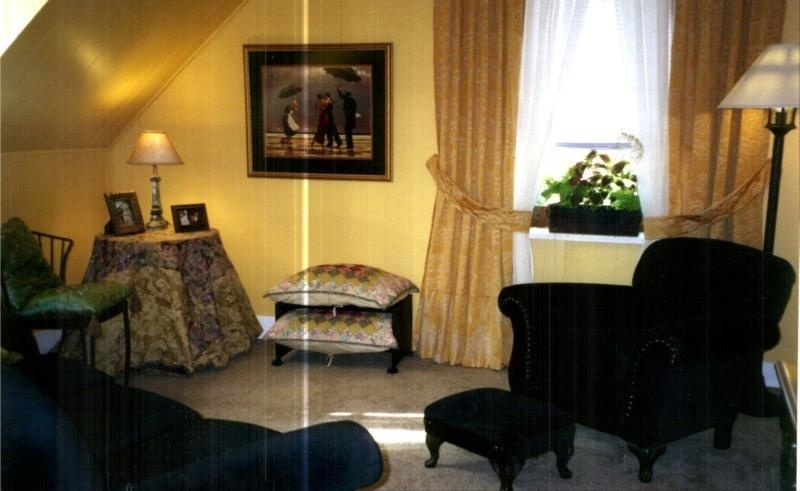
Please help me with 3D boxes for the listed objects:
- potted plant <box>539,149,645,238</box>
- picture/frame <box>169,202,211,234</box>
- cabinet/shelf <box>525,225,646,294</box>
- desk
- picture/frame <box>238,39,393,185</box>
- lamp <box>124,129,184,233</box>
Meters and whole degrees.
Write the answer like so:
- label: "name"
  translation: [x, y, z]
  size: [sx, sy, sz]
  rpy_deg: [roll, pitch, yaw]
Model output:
- label: "potted plant"
  translation: [0.759, -0.177, 2.712]
  size: [0.379, 0.269, 0.332]
  rpy_deg: [2, 11, 12]
- label: "picture/frame"
  translation: [-0.891, -0.116, 2.960]
  size: [0.128, 0.125, 0.013]
  rpy_deg: [-6, -1, -16]
- label: "cabinet/shelf"
  translation: [0.728, 0.049, 2.717]
  size: [0.406, 0.220, 0.182]
  rpy_deg: [6, -26, 6]
- label: "desk"
  translation: [-0.961, 0.234, 3.126]
  size: [0.697, 0.429, 0.622]
  rpy_deg: [-2, -5, -2]
- label: "picture/frame"
  translation: [-0.316, -0.562, 2.815]
  size: [0.593, 0.501, 0.024]
  rpy_deg: [2, 9, 18]
- label: "lamp"
  translation: [-1.033, -0.274, 2.939]
  size: [0.222, 0.419, 0.109]
  rpy_deg: [0, 6, -14]
